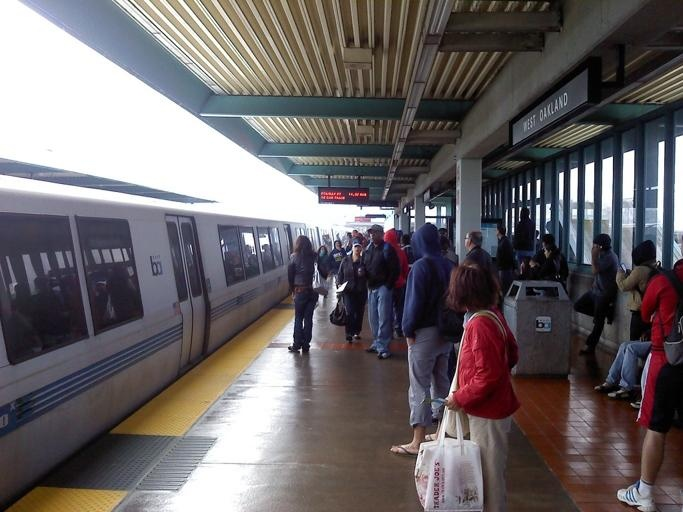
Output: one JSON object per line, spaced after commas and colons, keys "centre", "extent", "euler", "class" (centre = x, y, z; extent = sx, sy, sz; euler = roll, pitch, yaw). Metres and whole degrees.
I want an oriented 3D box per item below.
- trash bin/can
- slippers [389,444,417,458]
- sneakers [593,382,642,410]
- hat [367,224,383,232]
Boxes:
{"centre": [2.799, 1.070, 6.372], "extent": [1.270, 1.329, 0.728], "euler": [0, 3, 3], "class": "trash bin/can"}
{"centre": [0.654, 2.025, 4.711], "extent": [0.231, 0.066, 0.112], "euler": [3, -7, 8], "class": "slippers"}
{"centre": [3.766, 1.880, 6.070], "extent": [0.378, 0.103, 0.248], "euler": [10, -4, 2], "class": "sneakers"}
{"centre": [0.643, -0.495, 8.181], "extent": [0.159, 0.130, 0.243], "euler": [-2, -30, 25], "class": "hat"}
